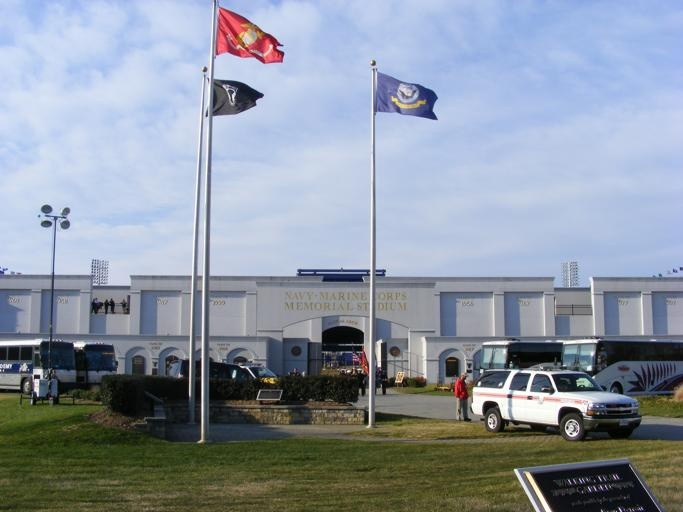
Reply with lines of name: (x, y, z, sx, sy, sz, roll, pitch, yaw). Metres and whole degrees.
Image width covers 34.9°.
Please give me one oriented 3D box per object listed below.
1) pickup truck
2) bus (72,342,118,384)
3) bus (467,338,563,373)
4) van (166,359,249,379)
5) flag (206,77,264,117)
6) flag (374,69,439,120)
pickup truck: (8.154, 5.569, 41.555, 3.126, 2.526, 6.269, 4, -6, -37)
bus: (-14.521, 6.114, 60.692, 3.501, 2.463, 2.473, -4, -7, 37)
bus: (11.013, 6.299, 64.805, 6.490, 2.783, 2.200, 3, -1, -44)
van: (-6.468, 5.657, 53.889, 2.564, 0.951, 1.830, -1, -3, -11)
flag: (-4.140, -6.175, 42.193, 1.585, 1.298, 0.433, 0, -8, -4)
flag: (2.586, -6.621, 44.861, 2.352, 1.929, 0.405, 0, -8, 1)
